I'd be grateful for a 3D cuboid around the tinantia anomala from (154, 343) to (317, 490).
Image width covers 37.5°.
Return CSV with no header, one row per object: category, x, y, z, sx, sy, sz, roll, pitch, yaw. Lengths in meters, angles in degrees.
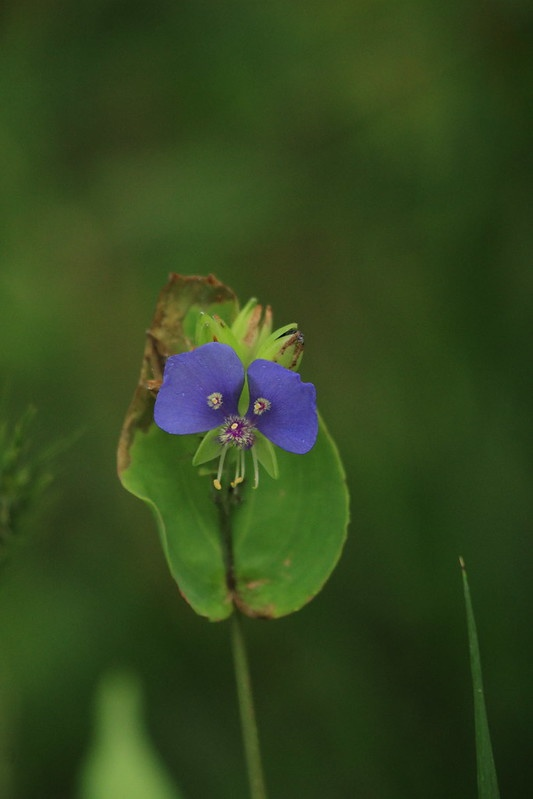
tinantia anomala,-0.027,0.007,0.710,0.144,0.079,0.104,4,85,0
